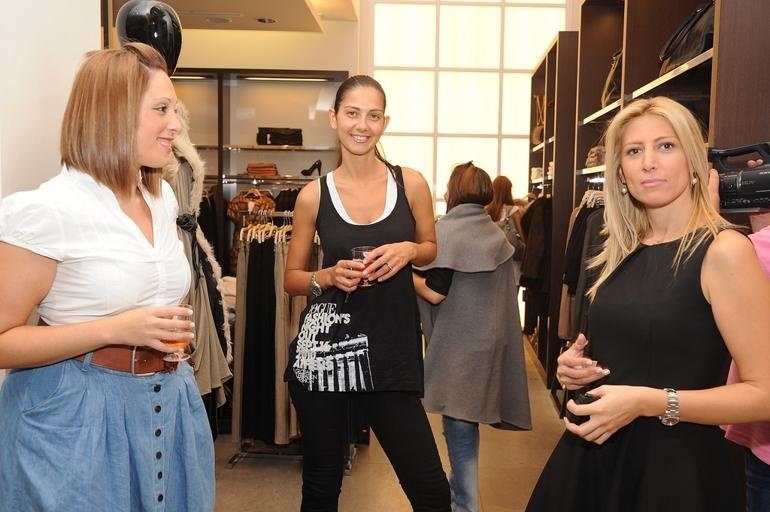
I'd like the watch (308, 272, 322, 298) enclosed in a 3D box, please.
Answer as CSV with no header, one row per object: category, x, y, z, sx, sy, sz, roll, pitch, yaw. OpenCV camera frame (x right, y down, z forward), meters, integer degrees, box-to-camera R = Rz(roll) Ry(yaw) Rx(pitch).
watch,-0.301,0.116,2.301,0.053,0.096,0.074,-22,-20,18

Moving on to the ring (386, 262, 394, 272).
ring,0.015,0.038,2.110,0.027,0.028,0.014,0,3,0

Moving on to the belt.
belt,-0.873,0.309,1.698,0.293,0.084,0.208,14,0,-14
